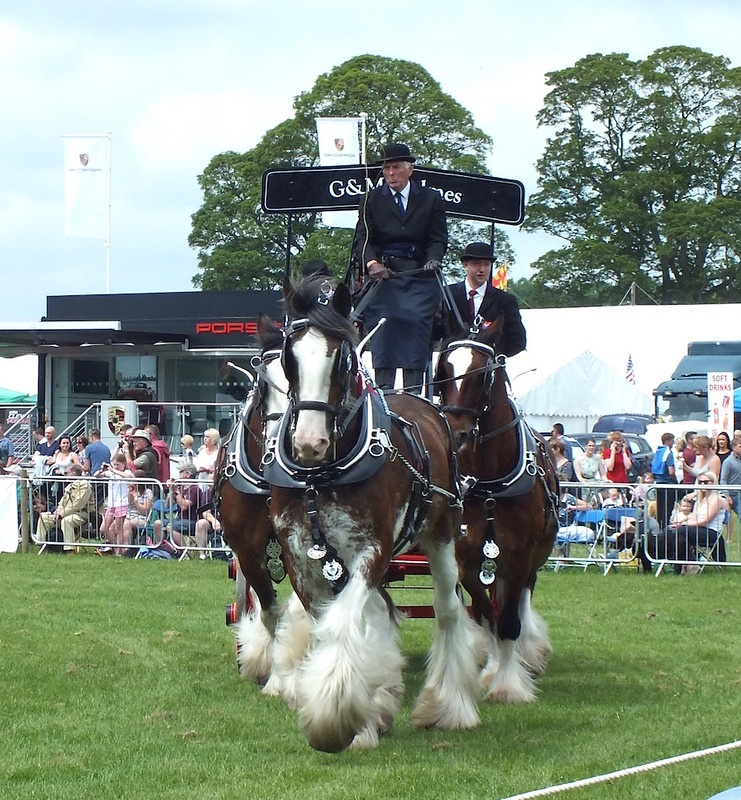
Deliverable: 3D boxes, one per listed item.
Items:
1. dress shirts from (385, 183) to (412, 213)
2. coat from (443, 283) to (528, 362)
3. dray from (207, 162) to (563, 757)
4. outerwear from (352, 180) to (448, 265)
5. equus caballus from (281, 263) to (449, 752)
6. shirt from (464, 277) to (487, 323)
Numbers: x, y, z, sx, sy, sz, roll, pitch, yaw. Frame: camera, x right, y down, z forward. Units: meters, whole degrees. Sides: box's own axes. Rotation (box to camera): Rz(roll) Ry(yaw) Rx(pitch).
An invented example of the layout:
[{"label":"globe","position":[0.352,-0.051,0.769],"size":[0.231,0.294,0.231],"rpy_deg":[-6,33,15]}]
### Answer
[{"label":"dress shirts","position":[0.225,-1.561,13.902],"size":[0.147,0.156,0.214],"rpy_deg":[-2,7,5]},{"label":"coat","position":[0.931,-0.643,13.957],"size":[0.474,0.418,0.652],"rpy_deg":[-3,-26,6]},{"label":"dray","position":[-0.233,0.732,12.508],"size":[1.009,3.028,4.223],"rpy_deg":[4,-5,5]},{"label":"outerwear","position":[0.244,-1.354,13.804],"size":[0.687,0.778,0.635],"rpy_deg":[0,-3,8]},{"label":"equus caballus","position":[0.034,0.729,11.929],"size":[0.881,3.006,2.178],"rpy_deg":[-1,-3,26]},{"label":"shirt","position":[0.825,-0.796,14.021],"size":[0.177,0.342,0.090],"rpy_deg":[1,-19,2]}]
